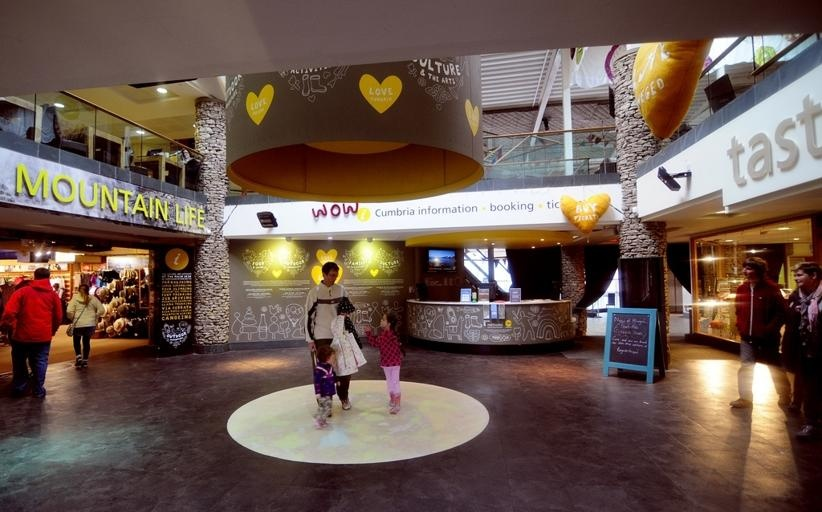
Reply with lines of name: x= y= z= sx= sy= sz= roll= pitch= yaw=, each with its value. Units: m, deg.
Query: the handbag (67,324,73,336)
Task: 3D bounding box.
handbag: x=-7.135 y=1.490 z=10.080 sx=0.080 sy=0.179 sz=0.229 roll=-8 pitch=13 yaw=-33

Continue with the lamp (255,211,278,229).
lamp: x=-3.582 y=-0.928 z=11.900 sx=0.481 sy=0.423 sz=0.239 roll=2 pitch=11 yaw=17

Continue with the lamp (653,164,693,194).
lamp: x=4.823 y=-1.425 z=8.821 sx=0.523 sy=0.442 sz=0.365 roll=4 pitch=12 yaw=23

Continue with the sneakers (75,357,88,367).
sneakers: x=-6.982 y=2.174 z=10.175 sx=0.208 sy=0.263 sz=0.234 roll=-9 pitch=14 yaw=-37

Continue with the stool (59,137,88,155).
stool: x=-6.148 y=-2.001 z=8.777 sx=0.166 sy=0.310 sz=0.517 roll=2 pitch=11 yaw=17

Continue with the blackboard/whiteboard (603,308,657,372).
blackboard/whiteboard: x=4.245 y=1.585 z=9.208 sx=0.936 sy=1.187 sz=0.681 roll=-2 pitch=1 yaw=44

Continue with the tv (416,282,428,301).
tv: x=0.277 y=0.915 z=12.929 sx=0.315 sy=0.572 sz=0.322 roll=-9 pitch=-15 yaw=27

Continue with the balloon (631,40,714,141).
balloon: x=3.403 y=-2.211 z=6.366 sx=0.410 sy=1.172 sz=0.843 roll=-5 pitch=12 yaw=-21

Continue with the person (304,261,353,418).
person: x=-1.176 y=1.215 z=7.353 sx=0.851 sy=2.226 sz=0.708 roll=-4 pitch=7 yaw=-18

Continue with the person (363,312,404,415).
person: x=-0.400 y=1.620 z=7.803 sx=0.509 sy=1.573 sz=1.389 roll=-2 pitch=11 yaw=-4

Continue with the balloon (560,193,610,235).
balloon: x=3.841 y=-1.006 z=10.650 sx=0.872 sy=0.716 sz=0.265 roll=-2 pitch=-6 yaw=20

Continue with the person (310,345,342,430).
person: x=-1.237 y=1.825 z=6.899 sx=0.285 sy=1.109 sz=0.365 roll=-2 pitch=11 yaw=-5
